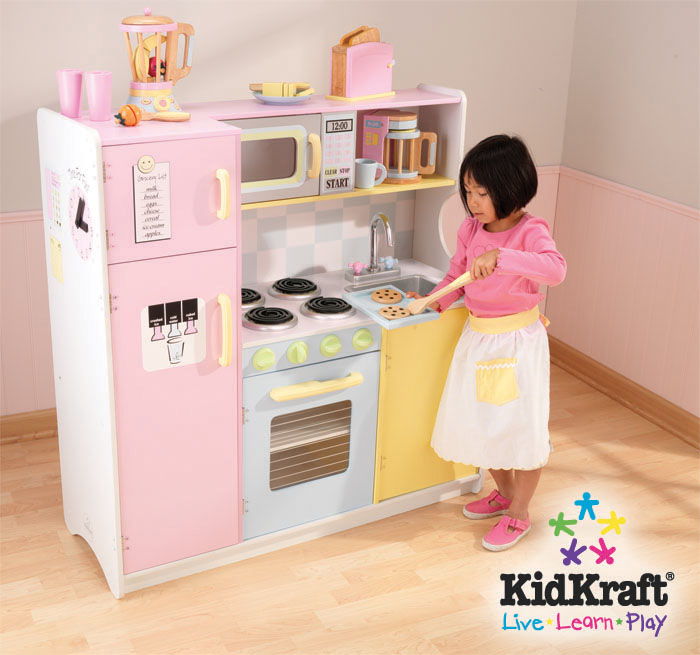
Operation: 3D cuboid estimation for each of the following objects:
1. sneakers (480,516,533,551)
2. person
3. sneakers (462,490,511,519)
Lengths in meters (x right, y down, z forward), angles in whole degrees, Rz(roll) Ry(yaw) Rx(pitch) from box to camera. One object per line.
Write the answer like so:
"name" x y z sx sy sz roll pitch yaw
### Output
"sneakers" 0.533 0.694 2.135 0.176 0.070 0.082 -12 18 -38
"person" 0.458 0.075 2.047 0.441 1.352 0.393 7 21 24
"sneakers" 0.511 0.657 2.339 0.203 0.078 0.074 -7 19 -25
